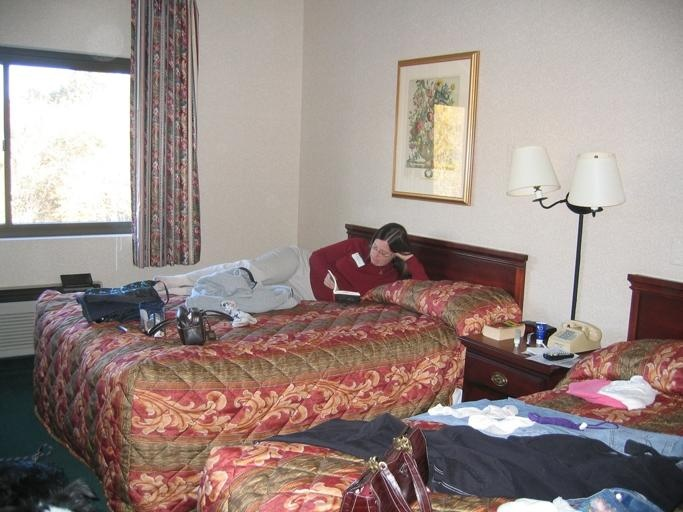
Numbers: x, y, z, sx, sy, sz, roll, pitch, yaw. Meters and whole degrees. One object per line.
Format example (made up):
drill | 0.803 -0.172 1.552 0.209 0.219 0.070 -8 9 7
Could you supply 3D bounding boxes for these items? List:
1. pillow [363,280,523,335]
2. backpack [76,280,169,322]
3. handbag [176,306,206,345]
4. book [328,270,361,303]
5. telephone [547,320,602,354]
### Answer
pillow | 0.688 0.293 3.548 0.409 0.155 0.675 -14 21 -40
backpack | -1.338 0.291 3.080 0.337 0.125 0.310 -1 6 -25
handbag | -0.841 0.400 2.826 0.153 0.203 0.099 -6 -18 -28
book | -0.042 0.262 3.923 0.369 0.244 0.116 2 16 12
telephone | 1.426 0.488 3.130 0.292 0.140 0.305 -3 5 3
